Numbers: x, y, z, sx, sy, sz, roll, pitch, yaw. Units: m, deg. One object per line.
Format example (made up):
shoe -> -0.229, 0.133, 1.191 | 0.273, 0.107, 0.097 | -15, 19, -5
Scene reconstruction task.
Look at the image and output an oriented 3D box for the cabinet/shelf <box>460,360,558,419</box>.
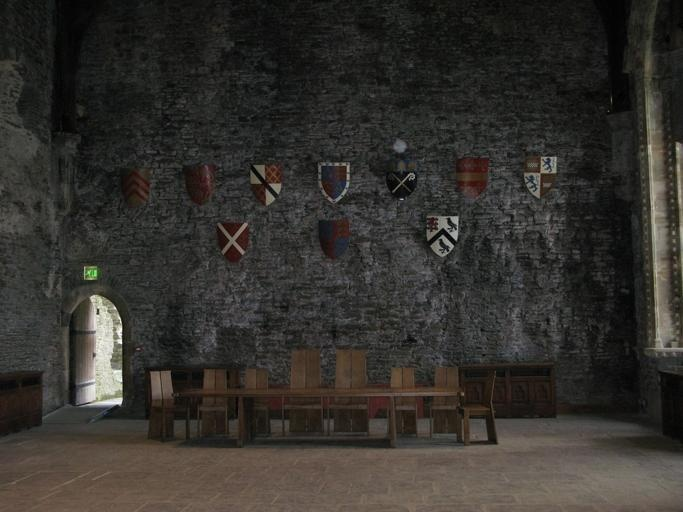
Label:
cabinet/shelf -> 2.832, 2.305, 12.192 | 1.514, 0.936, 0.591 | -1, -13, 7
